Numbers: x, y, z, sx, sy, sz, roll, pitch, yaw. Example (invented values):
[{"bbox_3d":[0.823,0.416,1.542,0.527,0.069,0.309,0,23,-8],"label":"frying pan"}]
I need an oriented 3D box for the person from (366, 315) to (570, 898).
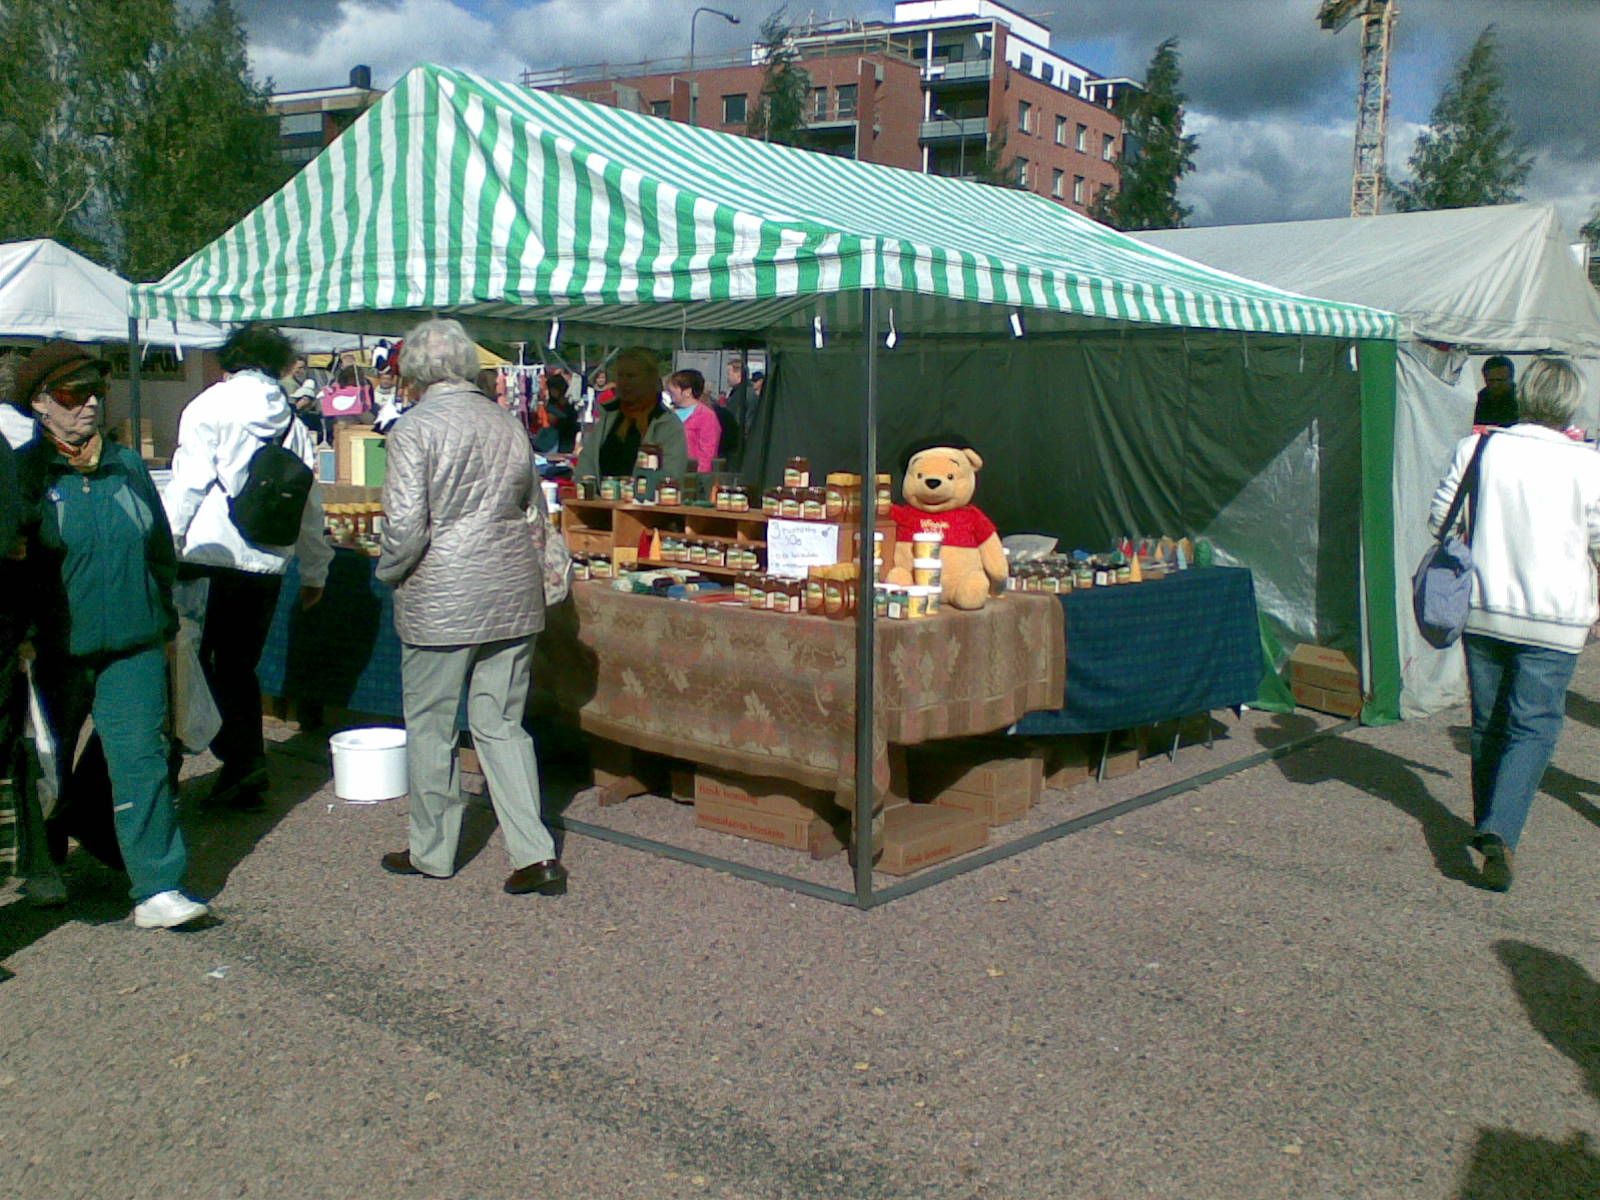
[{"bbox_3d":[-1.285,0.053,5.411,0.734,2.229,0.521,-3,11,-18],"label":"person"}]

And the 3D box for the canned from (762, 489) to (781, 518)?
[{"bbox_3d":[-0.123,-0.447,6.250,0.095,0.101,0.095,4,-6,-34],"label":"canned"}]

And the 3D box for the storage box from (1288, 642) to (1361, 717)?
[{"bbox_3d":[3.327,0.529,8.574,0.260,0.347,0.630,-5,14,-29],"label":"storage box"}]

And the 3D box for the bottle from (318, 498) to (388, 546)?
[{"bbox_3d":[-2.341,-0.403,7.165,0.233,0.171,0.246,3,20,-1],"label":"bottle"}]

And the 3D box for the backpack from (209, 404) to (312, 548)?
[{"bbox_3d":[-2.415,-0.523,6.039,0.477,0.485,0.301,19,-14,37],"label":"backpack"}]

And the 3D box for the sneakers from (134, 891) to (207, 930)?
[{"bbox_3d":[-2.394,1.147,5.136,0.309,0.141,0.124,-1,3,15],"label":"sneakers"}]

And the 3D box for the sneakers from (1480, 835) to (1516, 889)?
[{"bbox_3d":[2.927,1.102,5.756,0.128,0.202,0.138,6,12,23],"label":"sneakers"}]

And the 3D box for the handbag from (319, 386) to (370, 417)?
[{"bbox_3d":[-5.446,-2.371,16.411,0.481,0.480,0.214,0,27,5],"label":"handbag"}]

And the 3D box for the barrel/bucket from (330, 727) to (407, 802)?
[{"bbox_3d":[-2.057,0.804,6.644,0.360,0.249,0.380,3,13,-1],"label":"barrel/bucket"}]

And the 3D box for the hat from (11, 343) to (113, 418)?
[{"bbox_3d":[-2.713,-0.796,4.974,0.277,0.149,0.201,-8,-1,34],"label":"hat"}]
